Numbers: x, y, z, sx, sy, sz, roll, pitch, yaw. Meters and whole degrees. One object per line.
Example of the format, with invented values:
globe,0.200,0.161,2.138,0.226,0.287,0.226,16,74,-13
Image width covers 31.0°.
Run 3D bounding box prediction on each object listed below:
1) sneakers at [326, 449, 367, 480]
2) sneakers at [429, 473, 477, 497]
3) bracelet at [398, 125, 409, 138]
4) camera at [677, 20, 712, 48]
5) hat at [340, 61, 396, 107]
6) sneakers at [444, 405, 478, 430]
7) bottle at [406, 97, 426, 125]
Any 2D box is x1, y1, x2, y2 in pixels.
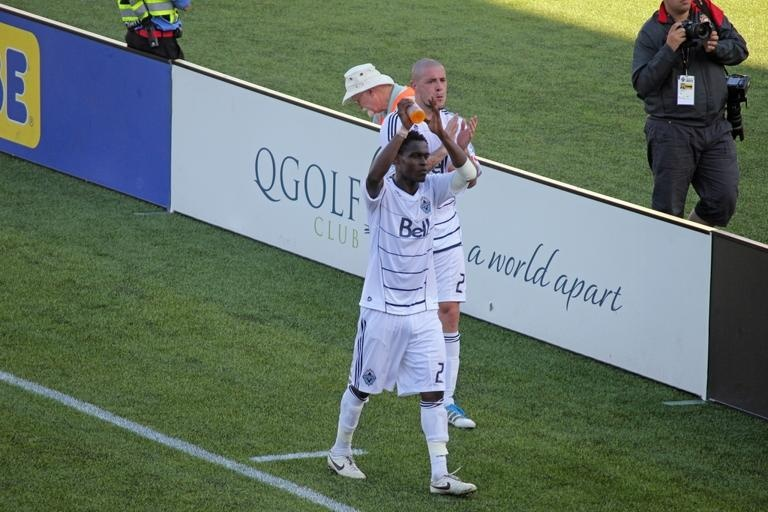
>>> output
sneakers,-0.319,1.602,10.878,0.366,0.169,0.147,22,26,23
sneakers,0.512,1.754,10.726,0.395,0.192,0.146,-1,4,7
bracelet,0.139,-0.926,10.349,0.074,0.053,0.075,4,11,-3
camera,2.763,-1.964,12.317,0.147,0.239,0.250,-14,10,-26
hat,-0.194,-1.420,11.484,0.497,0.270,0.395,-21,5,27
sneakers,0.597,1.295,11.401,0.310,0.155,0.117,25,26,31
bottle,0.229,-1.081,10.492,0.102,0.119,0.259,-6,23,-2
